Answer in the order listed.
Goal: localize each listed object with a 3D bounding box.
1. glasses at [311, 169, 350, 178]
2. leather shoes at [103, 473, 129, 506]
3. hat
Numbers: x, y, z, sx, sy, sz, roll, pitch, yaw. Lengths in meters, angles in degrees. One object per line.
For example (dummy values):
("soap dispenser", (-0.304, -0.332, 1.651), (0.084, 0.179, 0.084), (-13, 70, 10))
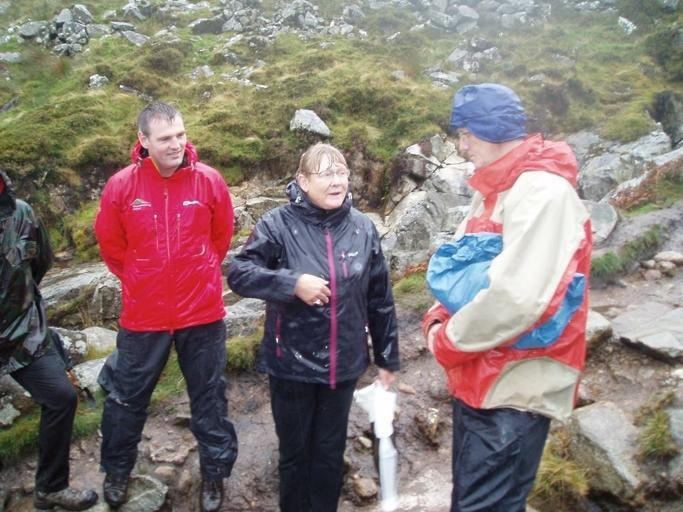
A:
("glasses", (-0.085, -0.919, 7.016), (0.191, 0.059, 0.192), (-6, 0, -39))
("leather shoes", (-2.623, 2.712, 7.296), (0.257, 0.323, 0.220), (2, 22, -14))
("hat", (1.541, -1.491, 6.615), (0.731, 0.544, 0.563), (-7, 12, 14))
